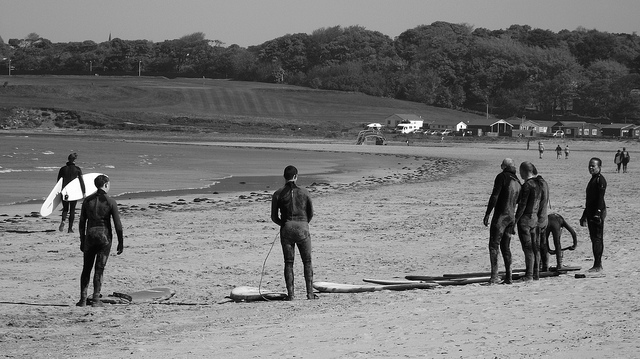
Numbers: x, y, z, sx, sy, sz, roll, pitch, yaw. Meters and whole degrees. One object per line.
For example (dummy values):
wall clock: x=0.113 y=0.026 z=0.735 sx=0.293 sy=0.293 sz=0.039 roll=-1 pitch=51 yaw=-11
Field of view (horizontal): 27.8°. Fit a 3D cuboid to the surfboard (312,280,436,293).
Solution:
surfboard: x=7.863 y=17.058 z=201.097 sx=17.911 sy=1.683 sz=0.723 roll=1 pitch=15 yaw=0
